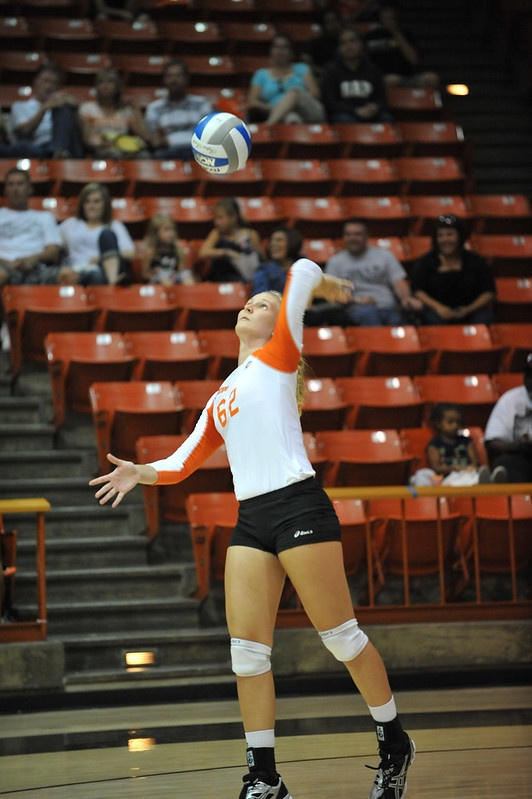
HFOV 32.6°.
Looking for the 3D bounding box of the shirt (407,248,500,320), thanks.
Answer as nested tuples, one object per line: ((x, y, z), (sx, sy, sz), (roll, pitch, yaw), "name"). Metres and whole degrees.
((1.247, -0.774, 6.139), (0.557, 0.396, 0.265), (-1, 6, 3), "shirt")

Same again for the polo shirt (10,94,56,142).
((-1.887, -2.283, 7.454), (0.477, 0.405, 0.248), (-4, -25, -9), "polo shirt")

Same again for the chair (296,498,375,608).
((0.368, 0.755, 4.147), (0.245, 0.313, 0.254), (-14, -10, -10), "chair")

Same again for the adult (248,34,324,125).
((0.155, -2.860, 8.314), (0.729, 0.823, 0.489), (-3, 4, 7), "adult")

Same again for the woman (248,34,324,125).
((0.155, -2.860, 8.315), (0.731, 0.823, 0.491), (-3, 4, 7), "woman")

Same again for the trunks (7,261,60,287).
((-1.524, -0.819, 5.977), (0.278, 0.117, 0.169), (-1, -5, -26), "trunks")

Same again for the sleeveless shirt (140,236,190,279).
((-0.702, -0.944, 6.393), (0.275, 0.458, 0.315), (-2, -29, -17), "sleeveless shirt")

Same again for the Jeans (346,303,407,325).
((0.721, -0.550, 6.082), (0.243, 0.202, 0.069), (-1, -19, -8), "Jeans")

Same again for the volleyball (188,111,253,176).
((-0.167, -0.991, 3.512), (0.189, 0.265, 0.252), (-2, 4, 21), "volleyball")

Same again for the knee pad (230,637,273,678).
((-0.032, 0.690, 2.428), (0.111, 0.084, 0.099), (14, -23, -26), "knee pad")

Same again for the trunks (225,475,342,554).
((0.044, 0.335, 2.516), (0.352, 0.178, 0.185), (-10, -6, 35), "trunks")

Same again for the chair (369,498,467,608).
((0.619, 0.707, 4.285), (0.465, 0.573, 0.481), (-1, 7, 3), "chair")

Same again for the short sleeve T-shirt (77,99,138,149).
((-1.329, -2.281, 7.587), (0.500, 0.402, 0.253), (-6, 3, -28), "short sleeve T-shirt")

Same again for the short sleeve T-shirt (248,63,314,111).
((0.154, -2.837, 8.329), (0.472, 0.388, 0.240), (-25, -8, 2), "short sleeve T-shirt")
